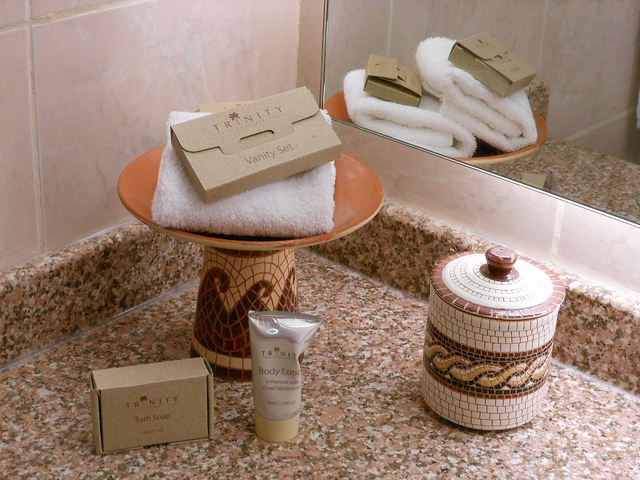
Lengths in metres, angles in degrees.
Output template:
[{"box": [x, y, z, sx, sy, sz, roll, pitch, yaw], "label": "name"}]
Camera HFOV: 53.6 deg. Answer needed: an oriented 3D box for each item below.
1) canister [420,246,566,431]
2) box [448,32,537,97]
[{"box": [0.194, 0.106, 0.739, 0.145, 0.183, 0.138, -2, 34, 1], "label": "canister"}, {"box": [0.227, -0.238, 0.850, 0.072, 0.030, 0.098, -35, 65, -20], "label": "box"}]
